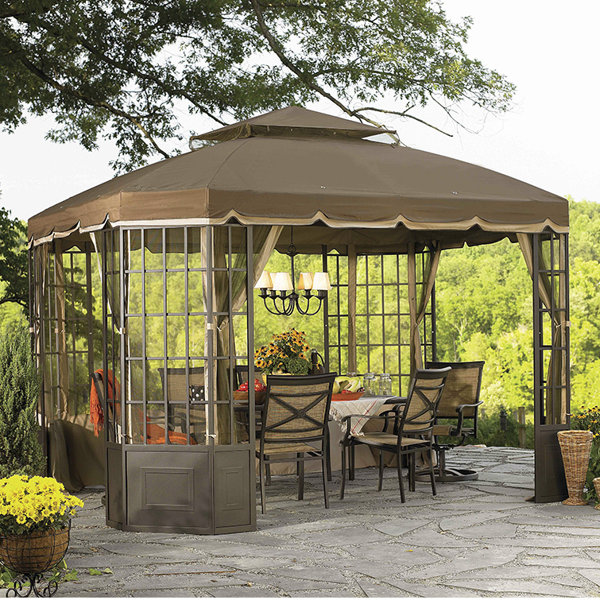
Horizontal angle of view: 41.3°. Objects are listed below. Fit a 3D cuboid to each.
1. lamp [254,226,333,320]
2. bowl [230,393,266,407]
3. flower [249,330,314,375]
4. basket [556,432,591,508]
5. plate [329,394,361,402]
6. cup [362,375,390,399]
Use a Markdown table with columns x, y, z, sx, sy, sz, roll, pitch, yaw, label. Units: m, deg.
| x | y | z | sx | sy | sz | roll | pitch | yaw | label |
| --- | --- | --- | --- | --- | --- | --- | --- | --- | --- |
| -0.082 | -0.369 | 9.112 | 0.889 | 1.206 | 0.905 | 3 | 4 | 37 | lamp |
| -0.454 | 0.833 | 6.645 | 0.226 | 0.091 | 0.232 | 0 | -10 | 0 | bowl |
| -0.219 | 0.564 | 8.007 | 0.441 | 0.329 | 0.469 | -3 | 1 | -3 | flower |
| 2.243 | 1.400 | 6.525 | 0.253 | 0.588 | 0.152 | -1 | -3 | 18 | basket |
| 0.442 | 0.979 | 7.905 | 0.286 | 0.075 | 0.342 | -1 | -4 | 4 | plate |
| 0.780 | 0.911 | 8.259 | 0.311 | 0.317 | 0.193 | 0 | -5 | 4 | cup |
